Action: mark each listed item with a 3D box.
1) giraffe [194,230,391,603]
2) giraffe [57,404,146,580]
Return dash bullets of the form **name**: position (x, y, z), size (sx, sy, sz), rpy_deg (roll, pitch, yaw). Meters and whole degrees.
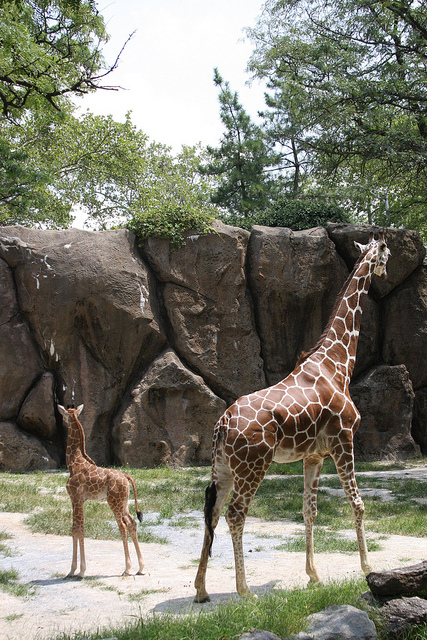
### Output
- **giraffe**: position (0.880, 0.794, 7.897), size (1.172, 3.573, 2.613), rpy_deg (-3, -3, 40)
- **giraffe**: position (-1.218, 1.779, 8.328), size (0.820, 1.714, 0.962), rpy_deg (-1, -2, -13)
